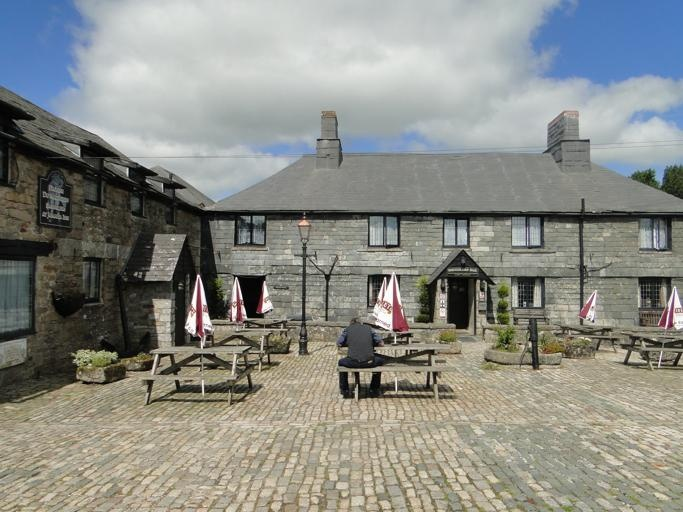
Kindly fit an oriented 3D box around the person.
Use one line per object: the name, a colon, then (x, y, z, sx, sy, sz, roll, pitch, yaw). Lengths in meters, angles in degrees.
person: (0.498, 2.647, 15.097, 1.159, 1.990, 0.760, 0, 10, 1)
